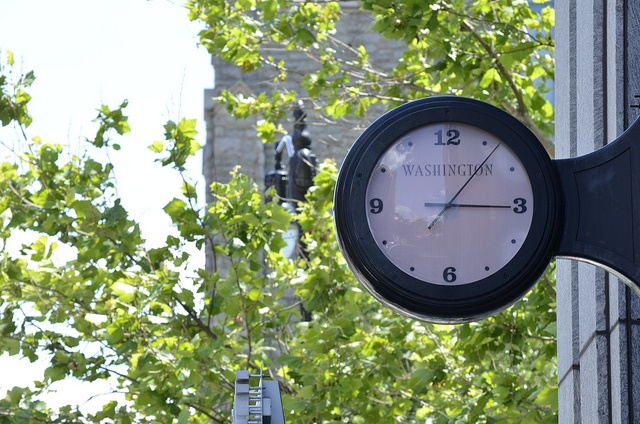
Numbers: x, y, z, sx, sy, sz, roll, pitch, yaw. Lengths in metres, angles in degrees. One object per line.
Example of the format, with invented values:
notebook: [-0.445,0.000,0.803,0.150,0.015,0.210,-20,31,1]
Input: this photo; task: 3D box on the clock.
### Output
clock: [0.883,-0.024,12.991,1.557,1.254,0.988,1,-43,1]
